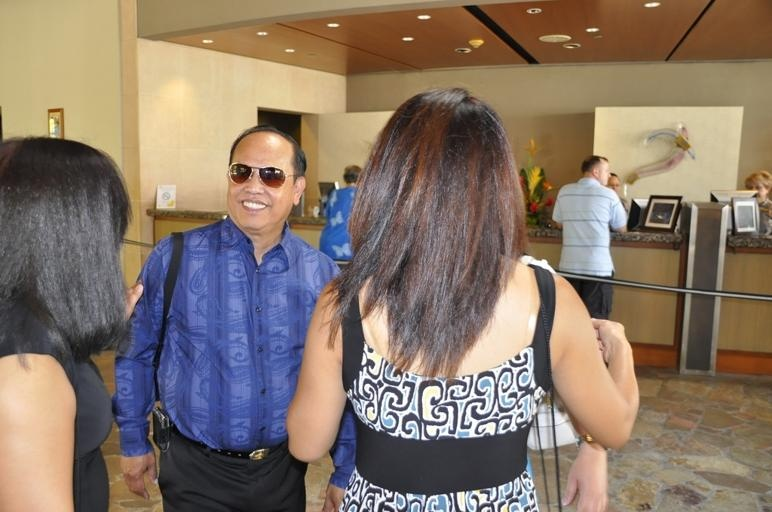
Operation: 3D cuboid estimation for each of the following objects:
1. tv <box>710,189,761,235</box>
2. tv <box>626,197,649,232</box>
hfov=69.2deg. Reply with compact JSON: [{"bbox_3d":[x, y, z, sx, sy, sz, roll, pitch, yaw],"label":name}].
[{"bbox_3d":[3.614,-0.416,5.713,0.373,0.385,0.203,-2,-2,4],"label":"tv"},{"bbox_3d":[2.778,-0.442,6.181,0.092,0.295,0.295,2,35,-11],"label":"tv"}]
